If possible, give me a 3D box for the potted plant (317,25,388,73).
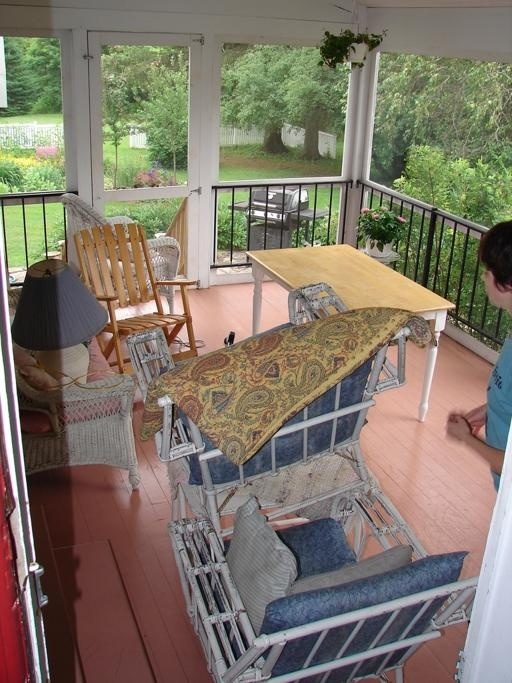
[{"bbox_3d":[0.990,-2.999,5.101,0.524,0.485,0.972,7,20,15],"label":"potted plant"}]
